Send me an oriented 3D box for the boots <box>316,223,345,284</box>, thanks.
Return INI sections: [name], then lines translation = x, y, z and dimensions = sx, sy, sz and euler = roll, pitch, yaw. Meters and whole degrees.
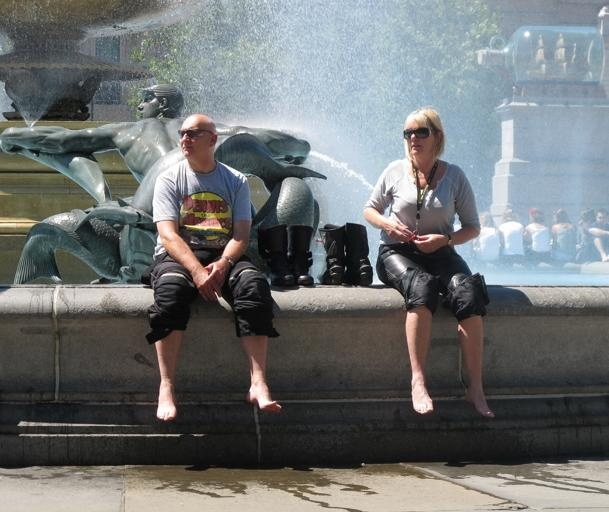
[boots]
translation = 0.387, -0.028, 23.505
dimensions = 0.353, 0.808, 0.247
euler = -1, 4, 6
